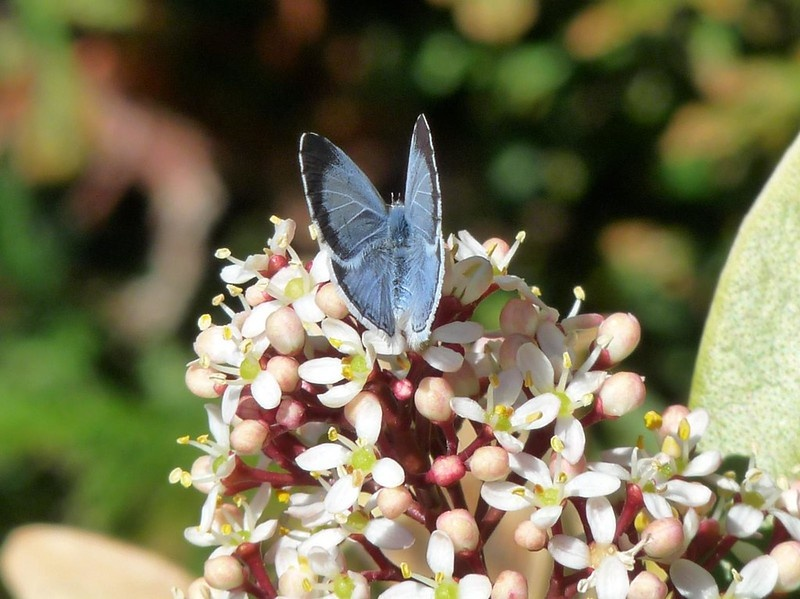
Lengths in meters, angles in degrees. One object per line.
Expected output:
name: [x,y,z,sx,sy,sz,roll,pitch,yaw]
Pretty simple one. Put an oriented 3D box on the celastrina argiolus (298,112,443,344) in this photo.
celastrina argiolus: [-0.039,-0.138,2.350,0.143,0.344,0.550,-7,98,-21]
